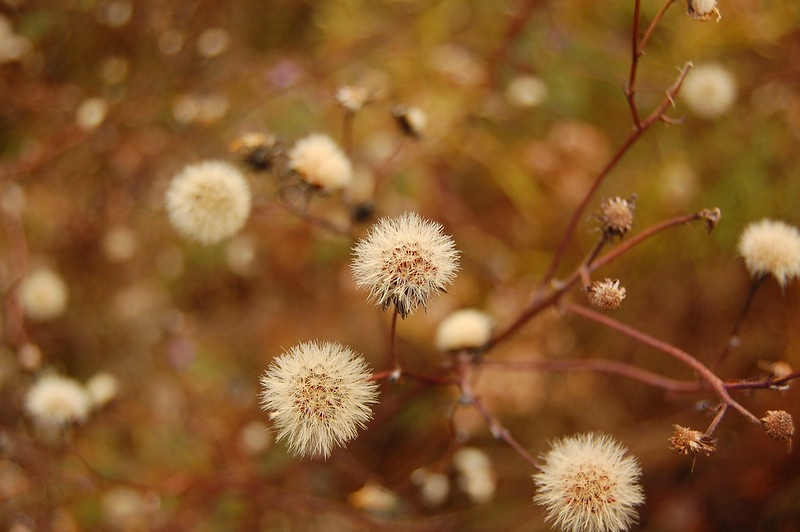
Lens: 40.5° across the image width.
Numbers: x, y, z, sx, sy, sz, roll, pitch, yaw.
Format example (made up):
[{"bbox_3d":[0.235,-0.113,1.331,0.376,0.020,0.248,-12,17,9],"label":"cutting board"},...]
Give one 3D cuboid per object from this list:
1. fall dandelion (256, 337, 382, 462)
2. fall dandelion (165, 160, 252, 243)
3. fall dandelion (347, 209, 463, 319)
[{"bbox_3d":[-0.140,0.240,1.902,0.175,0.099,0.192,10,-6,-20],"label":"fall dandelion"},{"bbox_3d":[-0.338,-0.115,1.902,0.117,0.156,0.060,3,1,-4],"label":"fall dandelion"},{"bbox_3d":[0.018,0.005,1.890,0.148,0.207,0.180,-3,32,-18],"label":"fall dandelion"}]
